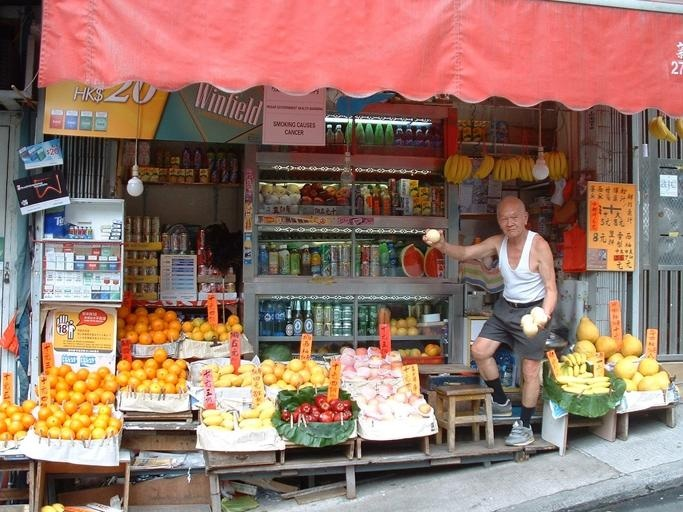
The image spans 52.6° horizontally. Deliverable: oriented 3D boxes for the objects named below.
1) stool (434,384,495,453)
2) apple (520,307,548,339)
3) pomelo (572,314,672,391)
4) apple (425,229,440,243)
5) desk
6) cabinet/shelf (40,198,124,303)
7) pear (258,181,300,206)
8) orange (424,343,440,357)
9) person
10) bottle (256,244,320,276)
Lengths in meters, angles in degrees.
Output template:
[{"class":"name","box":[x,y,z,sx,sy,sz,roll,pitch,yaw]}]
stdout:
[{"class":"stool","box":[1.049,1.356,5.938,0.526,0.500,0.561,-2,-1,-6]},{"class":"apple","box":[1.521,0.516,5.412,0.177,0.216,0.309,-3,-2,27]},{"class":"pomelo","box":[2.582,0.872,6.333,0.613,0.589,0.518,1,4,3]},{"class":"apple","box":[0.766,-0.169,5.911,0.118,0.101,0.094,-21,-8,34]},{"class":"desk","box":[2.365,1.422,6.055,1.267,0.475,0.352,-2,-2,-14]},{"class":"cabinet/shelf","box":[-2.283,-0.018,5.993,0.854,1.064,0.531,0,-5,-11]},{"class":"pear","box":[-0.675,-0.670,7.503,0.297,0.107,0.310,3,19,2]},{"class":"orange","box":[1.008,1.030,7.533,0.129,0.123,0.125,8,-3,1]},{"class":"person","box":[1.383,0.493,6.301,1.037,2.276,0.939,-1,7,4]},{"class":"bottle","box":[-0.548,0.035,7.493,0.708,0.352,0.186,-2,-2,-7]}]
